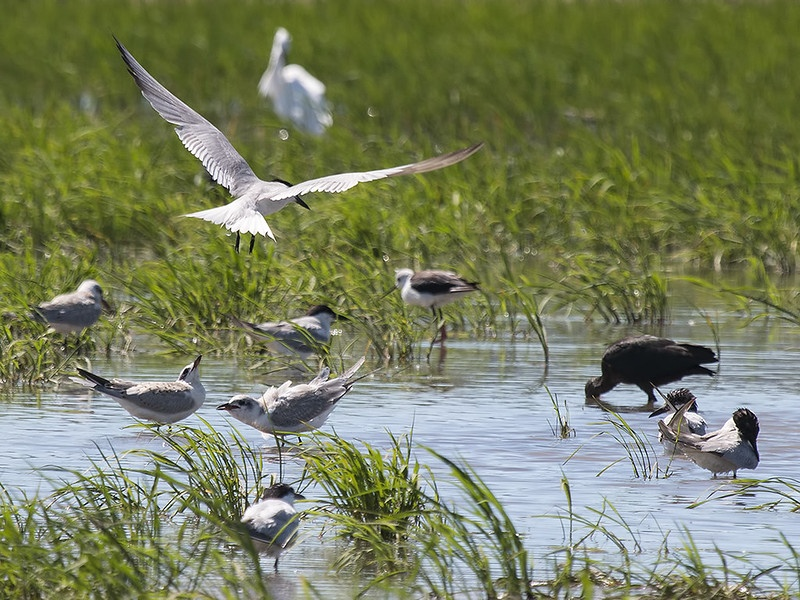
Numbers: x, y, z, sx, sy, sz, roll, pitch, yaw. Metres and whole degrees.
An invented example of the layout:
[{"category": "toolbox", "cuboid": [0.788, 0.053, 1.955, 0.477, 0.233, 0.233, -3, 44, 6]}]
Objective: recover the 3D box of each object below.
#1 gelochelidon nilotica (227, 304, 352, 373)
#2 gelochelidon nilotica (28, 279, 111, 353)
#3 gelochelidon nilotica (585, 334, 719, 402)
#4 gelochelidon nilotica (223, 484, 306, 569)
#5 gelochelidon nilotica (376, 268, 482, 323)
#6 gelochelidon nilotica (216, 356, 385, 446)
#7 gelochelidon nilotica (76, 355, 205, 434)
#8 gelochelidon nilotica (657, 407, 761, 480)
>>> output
[{"category": "gelochelidon nilotica", "cuboid": [-1.001, 0.296, 10.310, 1.085, 0.529, 0.352, 7, 5, -23]}, {"category": "gelochelidon nilotica", "cuboid": [-2.902, 0.114, 10.129, 0.398, 0.512, 0.808, 10, 11, 43]}, {"category": "gelochelidon nilotica", "cuboid": [2.084, 0.605, 9.761, 1.225, 0.584, 0.436, -15, -1, -12]}, {"category": "gelochelidon nilotica", "cuboid": [-0.780, 1.248, 6.287, 0.332, 0.450, 0.682, -6, -8, 34]}, {"category": "gelochelidon nilotica", "cuboid": [0.359, -0.104, 11.648, 0.996, 0.490, 0.348, -10, -12, 36]}, {"category": "gelochelidon nilotica", "cuboid": [-0.740, 0.793, 8.430, 1.155, 0.448, 0.369, -14, 12, -31]}, {"category": "gelochelidon nilotica", "cuboid": [-1.939, 0.662, 8.390, 0.966, 0.533, 0.382, 10, -17, -27]}, {"category": "gelochelidon nilotica", "cuboid": [2.078, 0.984, 7.701, 0.965, 0.520, 0.348, 13, -13, -29]}]
